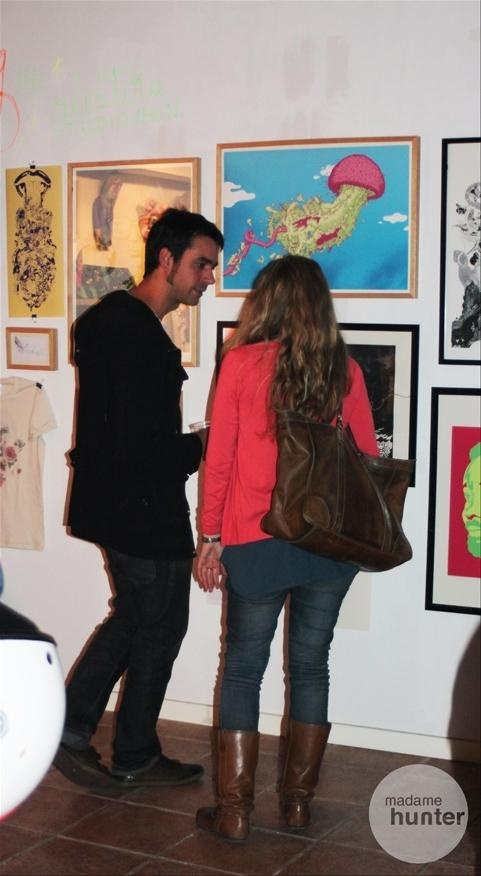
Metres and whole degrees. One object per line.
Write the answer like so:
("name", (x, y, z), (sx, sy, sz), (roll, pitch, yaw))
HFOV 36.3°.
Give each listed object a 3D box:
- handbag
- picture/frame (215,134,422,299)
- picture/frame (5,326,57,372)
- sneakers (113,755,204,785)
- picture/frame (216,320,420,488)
("handbag", (0.257, 0.109, 1.751), (0.400, 0.416, 0.142), (19, -19, -32))
("picture/frame", (0.268, -0.702, 2.277), (0.631, 0.484, 0.023), (1, 4, 17))
("picture/frame", (-0.794, -0.337, 2.775), (0.230, 0.168, 0.030), (-1, -2, 24))
("sneakers", (-0.249, 0.963, 2.211), (0.261, 0.110, 0.095), (-2, -5, -13))
("picture/frame", (0.193, -0.081, 1.823), (0.473, 0.421, 0.027), (4, 4, 15))
